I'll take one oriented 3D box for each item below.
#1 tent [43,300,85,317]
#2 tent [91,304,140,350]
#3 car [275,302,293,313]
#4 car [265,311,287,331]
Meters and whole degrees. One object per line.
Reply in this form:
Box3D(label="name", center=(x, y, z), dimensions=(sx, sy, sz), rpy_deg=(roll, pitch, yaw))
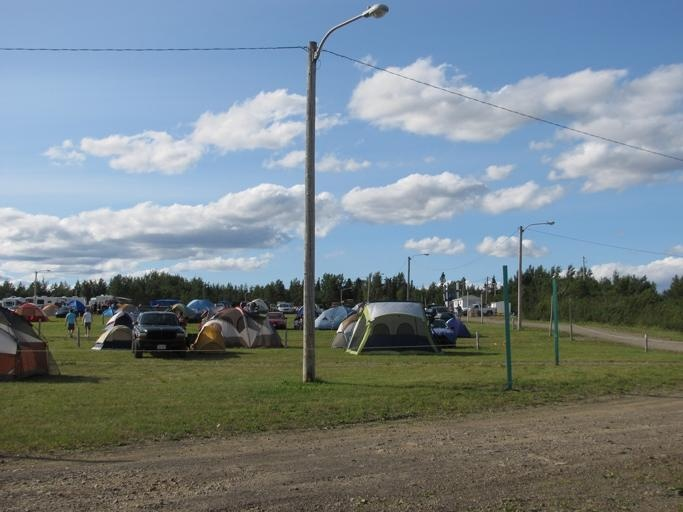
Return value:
Box3D(label="tent", center=(-32.026, 6.097, 78.469), dimensions=(4.009, 1.925, 2.989), rpy_deg=(1, -5, -14))
Box3D(label="tent", center=(-11.021, 3.626, 32.725), dimensions=(2.784, 1.754, 3.346), rpy_deg=(0, 0, -35))
Box3D(label="car", center=(-7.086, 6.539, 85.112), dimensions=(1.484, 1.249, 2.250), rpy_deg=(1, -5, -10))
Box3D(label="car", center=(-4.644, 4.989, 49.352), dimensions=(1.322, 1.134, 3.117), rpy_deg=(1, 1, 3))
